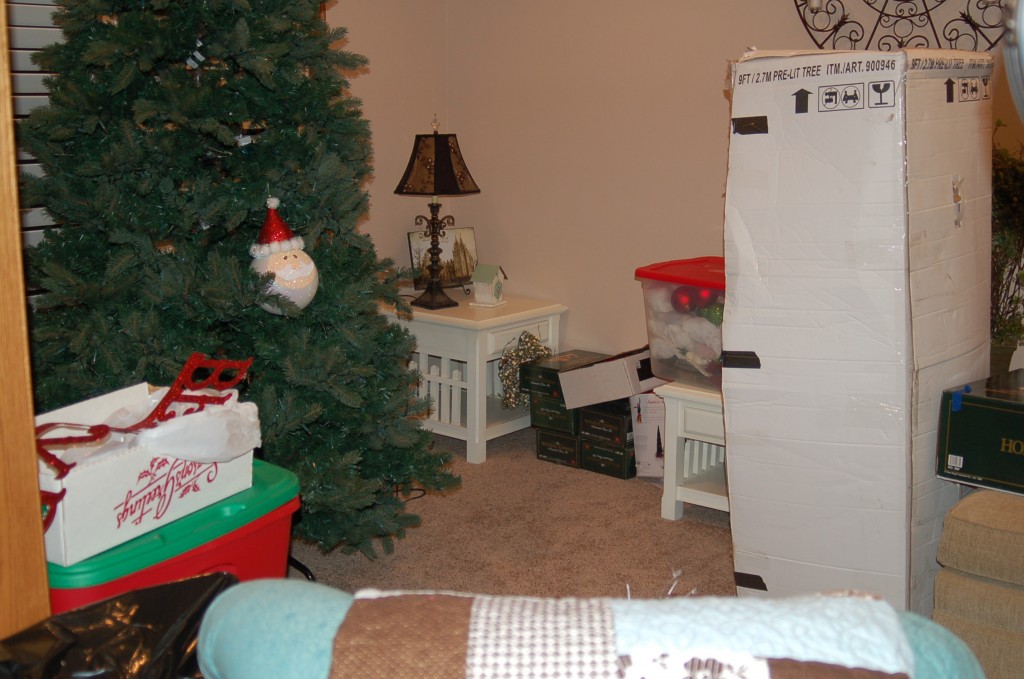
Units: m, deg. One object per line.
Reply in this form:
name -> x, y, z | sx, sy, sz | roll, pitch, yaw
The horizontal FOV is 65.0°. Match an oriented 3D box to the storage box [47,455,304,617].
storage box -> -0.852, 0.508, 2.111 | 0.382, 0.183, 0.287 | -12, 15, -37

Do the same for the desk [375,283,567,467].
desk -> -0.208, 0.177, 4.460 | 0.907, 0.874, 0.863 | 15, 26, 41

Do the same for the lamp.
lamp -> -0.388, -0.679, 4.420 | 0.441, 0.899, 0.719 | -2, 16, -2

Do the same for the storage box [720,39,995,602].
storage box -> 1.076, -0.014, 2.505 | 0.830, 1.703, 0.572 | 1, 16, 10

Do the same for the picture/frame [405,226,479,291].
picture/frame -> -0.395, -0.445, 4.460 | 0.037, 0.301, 0.377 | 0, 9, 45

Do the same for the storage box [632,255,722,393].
storage box -> 0.701, -0.098, 3.411 | 0.575, 0.428, 0.483 | 2, 12, 24
